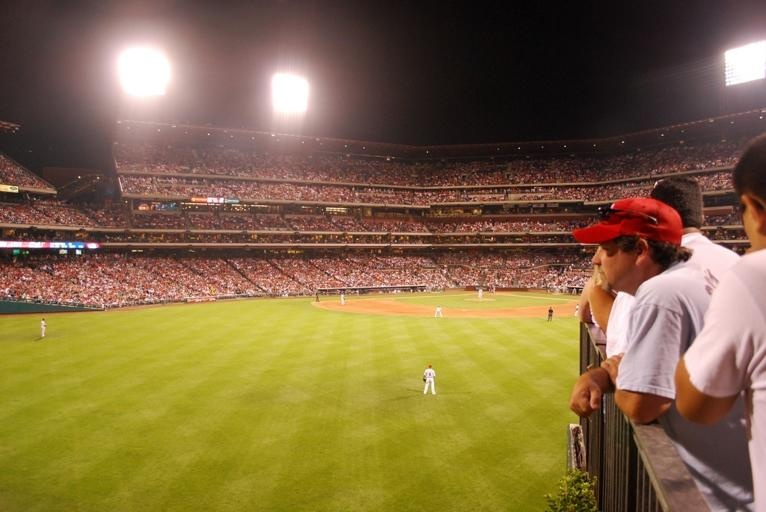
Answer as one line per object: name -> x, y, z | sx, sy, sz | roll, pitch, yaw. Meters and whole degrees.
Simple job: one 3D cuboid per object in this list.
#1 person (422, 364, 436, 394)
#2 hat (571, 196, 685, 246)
person -> 1.689, 4.390, 17.820 | 0.446, 1.062, 0.864 | 0, 8, 5
hat -> 3.264, -0.418, 6.573 | 1.279, 0.557, 0.777 | 7, 0, 20
